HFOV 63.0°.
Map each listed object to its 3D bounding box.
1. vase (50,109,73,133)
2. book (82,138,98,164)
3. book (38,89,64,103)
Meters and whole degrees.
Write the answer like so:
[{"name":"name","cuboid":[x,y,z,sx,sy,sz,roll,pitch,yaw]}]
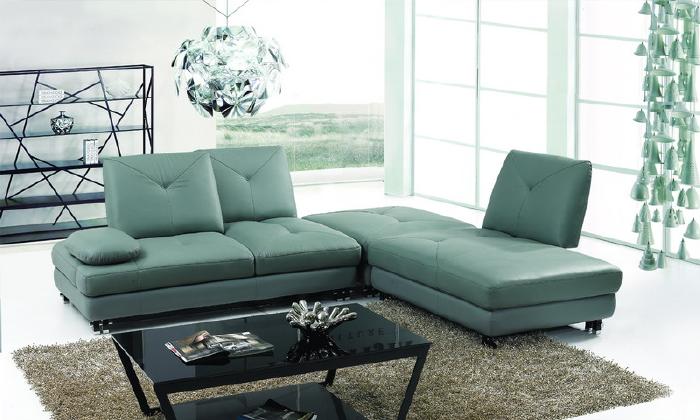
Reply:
[{"name":"vase","cuboid":[-3.595,-1.087,7.126,0.343,0.297,0.321,0,-1,-37]},{"name":"book","cuboid":[-3.276,-0.747,7.204,0.218,0.335,0.282,-5,15,-27]},{"name":"book","cuboid":[-3.679,-1.410,7.016,0.238,0.119,0.024,-4,4,-26]}]
